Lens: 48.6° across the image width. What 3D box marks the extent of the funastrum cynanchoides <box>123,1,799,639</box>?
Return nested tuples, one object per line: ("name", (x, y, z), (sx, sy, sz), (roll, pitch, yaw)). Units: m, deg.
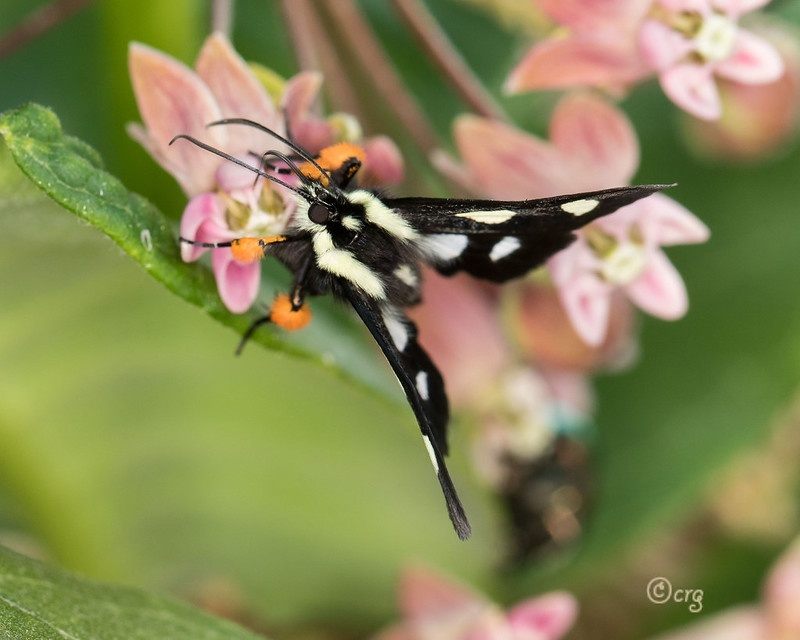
("funastrum cynanchoides", (0.061, 0.025, 0.735), (0.516, 0.356, 0.436), (-7, 50, -6))
